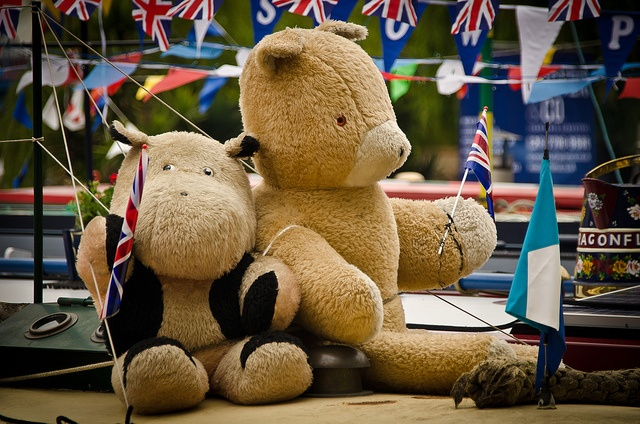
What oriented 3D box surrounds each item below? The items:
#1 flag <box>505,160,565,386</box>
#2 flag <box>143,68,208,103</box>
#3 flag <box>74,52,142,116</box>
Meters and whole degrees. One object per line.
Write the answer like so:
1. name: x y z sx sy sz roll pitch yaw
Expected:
1. flag: 1.910 0.539 7.769 0.491 1.959 0.453 8 8 28
2. flag: -1.947 -1.803 12.475 1.012 0.324 0.394 9 8 34
3. flag: -2.953 -1.911 12.777 0.768 0.609 2.329 3 7 -16
